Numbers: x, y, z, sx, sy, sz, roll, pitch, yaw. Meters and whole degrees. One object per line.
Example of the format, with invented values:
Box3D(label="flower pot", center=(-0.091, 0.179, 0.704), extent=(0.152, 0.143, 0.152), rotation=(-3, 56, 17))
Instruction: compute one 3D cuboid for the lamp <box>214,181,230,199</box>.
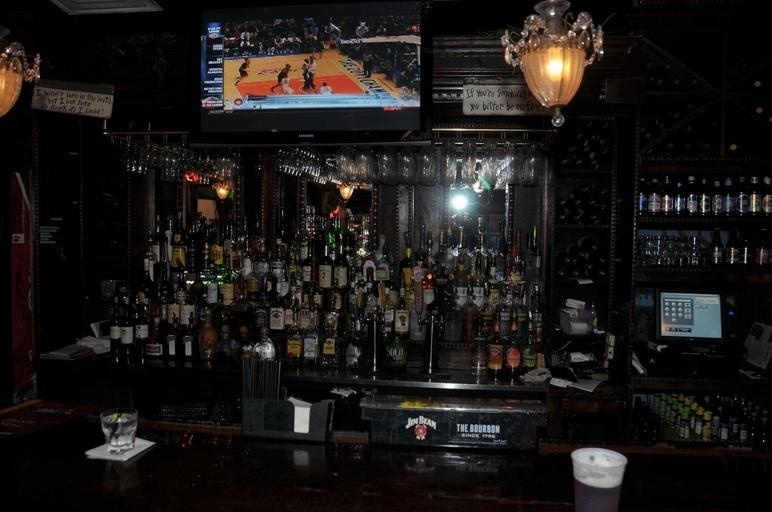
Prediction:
Box3D(label="lamp", center=(-1.590, -0.653, 7.462), extent=(0.143, 0.160, 0.160), rotation=(9, 16, 22))

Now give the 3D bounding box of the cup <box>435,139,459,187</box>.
Box3D(label="cup", center=(0.523, -0.751, 6.075), extent=(0.236, 0.459, 0.331), rotation=(1, 6, 6))

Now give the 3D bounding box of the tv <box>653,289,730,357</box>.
Box3D(label="tv", center=(2.552, 0.557, 6.328), extent=(0.540, 0.469, 0.190), rotation=(1, -4, 6))

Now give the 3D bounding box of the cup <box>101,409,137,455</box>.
Box3D(label="cup", center=(-1.587, 1.035, 4.508), extent=(0.245, 0.281, 0.252), rotation=(0, -7, 0))

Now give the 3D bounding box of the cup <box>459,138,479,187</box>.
Box3D(label="cup", center=(0.668, -0.748, 6.053), extent=(0.158, 0.289, 0.077), rotation=(2, 3, -2))

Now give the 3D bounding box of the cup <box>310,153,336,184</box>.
Box3D(label="cup", center=(-0.541, -0.780, 6.739), extent=(0.174, 0.238, 0.097), rotation=(0, 8, -10))

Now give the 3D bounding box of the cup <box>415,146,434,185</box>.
Box3D(label="cup", center=(0.318, -0.720, 6.055), extent=(0.168, 0.226, 0.104), rotation=(3, -1, 1))

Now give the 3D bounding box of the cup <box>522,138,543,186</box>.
Box3D(label="cup", center=(1.160, -0.753, 6.104), extent=(0.188, 0.242, 0.265), rotation=(3, -1, 16))

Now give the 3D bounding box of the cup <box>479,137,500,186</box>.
Box3D(label="cup", center=(0.821, -0.740, 6.029), extent=(0.150, 0.278, 0.386), rotation=(3, -1, 8))

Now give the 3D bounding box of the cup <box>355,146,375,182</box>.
Box3D(label="cup", center=(-0.161, -0.733, 6.073), extent=(0.160, 0.221, 0.106), rotation=(3, -1, -3))

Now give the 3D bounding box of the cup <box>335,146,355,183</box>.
Box3D(label="cup", center=(-0.328, -0.738, 6.166), extent=(0.154, 0.225, 0.241), rotation=(3, -1, 0))

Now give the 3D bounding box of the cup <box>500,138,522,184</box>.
Box3D(label="cup", center=(0.992, -0.750, 6.057), extent=(0.177, 0.245, 0.310), rotation=(3, -1, 9))

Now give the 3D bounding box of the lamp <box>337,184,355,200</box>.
Box3D(label="lamp", center=(-0.371, -0.584, 7.084), extent=(0.065, 0.128, 0.220), rotation=(4, -1, -40))
